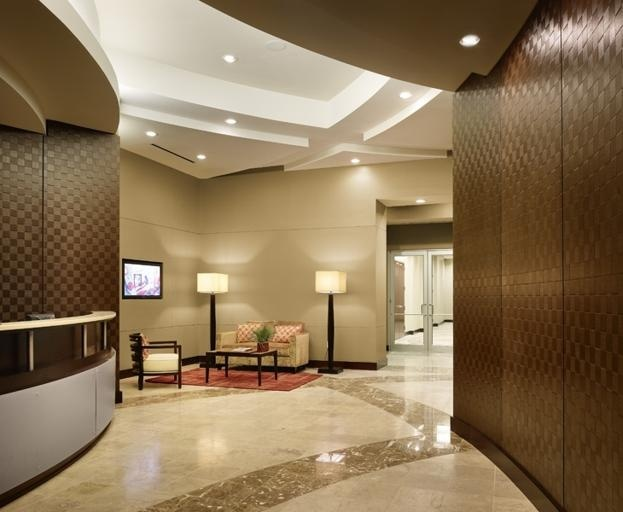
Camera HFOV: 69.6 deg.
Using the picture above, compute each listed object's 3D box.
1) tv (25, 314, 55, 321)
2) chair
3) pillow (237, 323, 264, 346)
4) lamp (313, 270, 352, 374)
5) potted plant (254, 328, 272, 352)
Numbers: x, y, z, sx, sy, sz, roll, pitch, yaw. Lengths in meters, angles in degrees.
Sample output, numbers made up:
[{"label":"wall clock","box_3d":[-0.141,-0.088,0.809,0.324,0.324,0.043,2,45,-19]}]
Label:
[{"label":"tv","box_3d":[-3.042,0.672,5.002,0.241,0.047,1.281,3,-6,-31]},{"label":"chair","box_3d":[-2.732,1.848,7.948,0.956,0.868,0.918,5,-7,-44]},{"label":"pillow","box_3d":[-1.438,1.692,9.878,0.477,0.492,0.153,0,-23,12]},{"label":"lamp","box_3d":[0.435,1.386,9.531,0.608,2.101,0.755,-1,-5,5]},{"label":"potted plant","box_3d":[-0.929,1.640,8.745,0.362,0.481,0.378,0,-3,0]}]
